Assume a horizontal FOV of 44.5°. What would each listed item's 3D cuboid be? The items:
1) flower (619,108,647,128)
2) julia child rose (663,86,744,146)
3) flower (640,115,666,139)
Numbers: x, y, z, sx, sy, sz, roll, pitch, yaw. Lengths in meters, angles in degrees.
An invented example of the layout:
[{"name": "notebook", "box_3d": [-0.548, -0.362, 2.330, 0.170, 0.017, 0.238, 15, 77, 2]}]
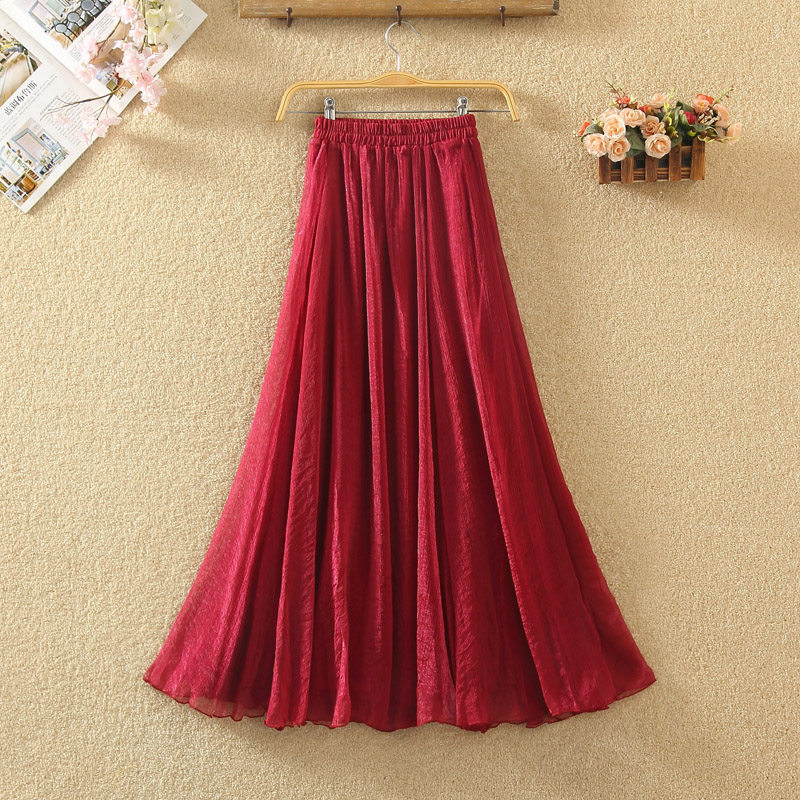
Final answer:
[{"name": "flower", "box_3d": [0.532, -0.647, 2.241, 0.049, 0.043, 0.024, -18, -18, -14]}, {"name": "julia child rose", "box_3d": [0.677, -0.659, 2.280, 0.175, 0.127, 0.097, -7, 0, -5]}, {"name": "flower", "box_3d": [0.579, -0.629, 2.254, 0.054, 0.044, 0.022, -8, 21, 6]}]
